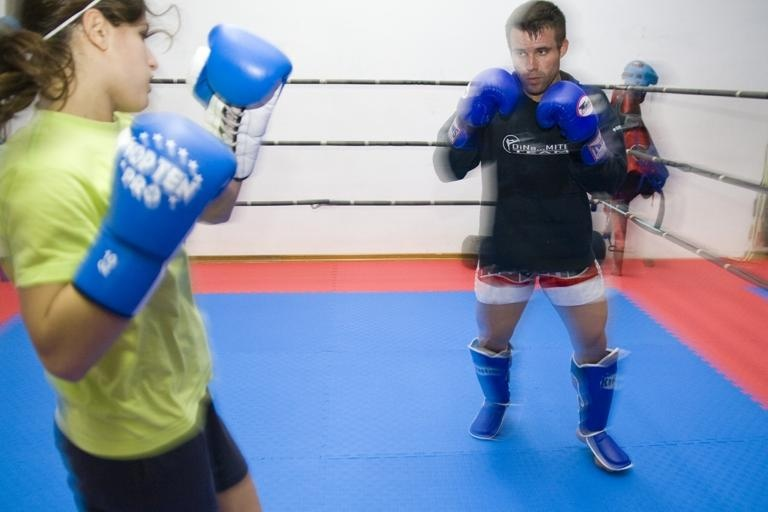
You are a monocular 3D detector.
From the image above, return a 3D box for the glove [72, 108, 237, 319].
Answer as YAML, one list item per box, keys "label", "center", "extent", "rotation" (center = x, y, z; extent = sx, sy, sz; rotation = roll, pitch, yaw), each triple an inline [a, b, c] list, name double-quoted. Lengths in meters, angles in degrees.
- label: "glove"
  center: [-0.564, -0.097, 1.513]
  extent: [0.311, 0.470, 0.171]
  rotation: [23, -5, -4]

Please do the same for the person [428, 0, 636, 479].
- label: "person"
  center: [0.657, -0.081, 2.496]
  extent: [0.942, 1.892, 0.341]
  rotation: [9, 20, 20]

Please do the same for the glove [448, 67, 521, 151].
- label: "glove"
  center: [0.438, -0.619, 2.450]
  extent: [0.288, 0.335, 0.175]
  rotation: [0, 19, -6]
